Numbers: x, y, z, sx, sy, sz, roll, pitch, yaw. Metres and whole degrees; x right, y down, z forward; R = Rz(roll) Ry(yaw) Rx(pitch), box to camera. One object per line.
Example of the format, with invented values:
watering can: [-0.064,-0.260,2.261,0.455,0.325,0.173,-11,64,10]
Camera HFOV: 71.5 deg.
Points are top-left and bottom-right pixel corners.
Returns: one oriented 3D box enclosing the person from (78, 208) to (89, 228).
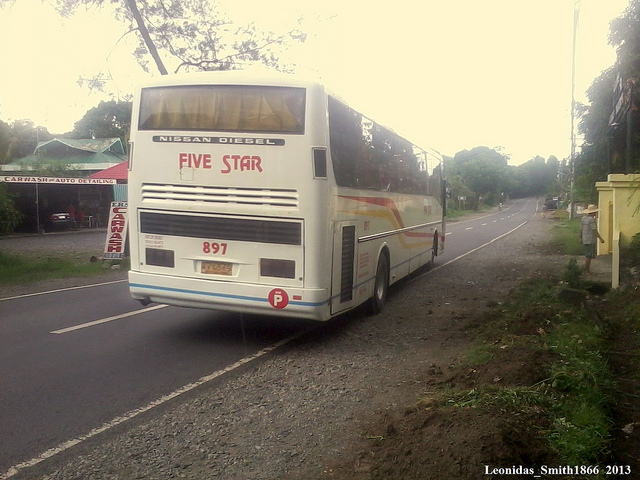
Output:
person: [-19.242,-1.819,35.915,0.468,1.427,1.417,-2,5,-25]

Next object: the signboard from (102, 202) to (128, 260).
signboard: [-7.648,-0.318,16.788,0.962,2.161,0.417,1,4,10]

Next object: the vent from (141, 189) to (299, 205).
vent: [-1.506,-0.683,7.052,2.398,0.259,0.175,4,-6,14]
